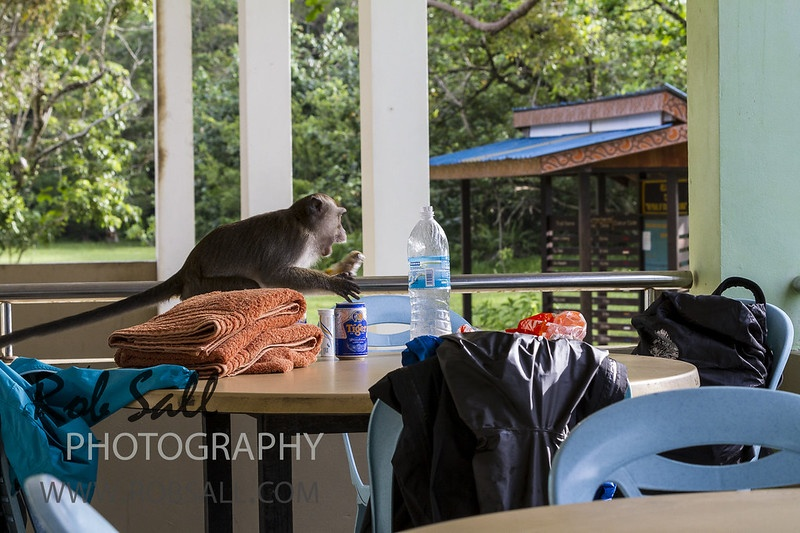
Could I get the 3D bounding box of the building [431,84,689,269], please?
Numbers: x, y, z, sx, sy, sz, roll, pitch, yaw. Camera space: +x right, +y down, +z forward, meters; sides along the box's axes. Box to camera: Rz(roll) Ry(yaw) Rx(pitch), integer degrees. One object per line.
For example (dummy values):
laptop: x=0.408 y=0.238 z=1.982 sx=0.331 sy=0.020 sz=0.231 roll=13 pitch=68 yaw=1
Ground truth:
building: x=1.668 y=-0.213 z=14.091 sx=1.721 sy=1.704 sz=2.762 roll=2 pitch=-4 yaw=-21

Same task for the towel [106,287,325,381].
towel: x=-1.184 y=0.447 z=8.816 sx=0.723 sy=0.362 sz=0.787 roll=-4 pitch=3 yaw=25
